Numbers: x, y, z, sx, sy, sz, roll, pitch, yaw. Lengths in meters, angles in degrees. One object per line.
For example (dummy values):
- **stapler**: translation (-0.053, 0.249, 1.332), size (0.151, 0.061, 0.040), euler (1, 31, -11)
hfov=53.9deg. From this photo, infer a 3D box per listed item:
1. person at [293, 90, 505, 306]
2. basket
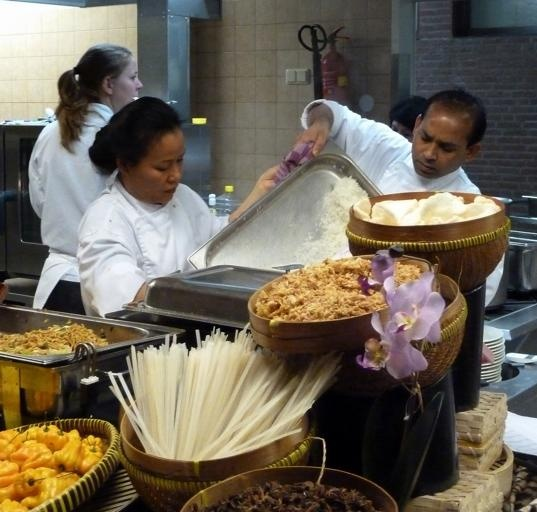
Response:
- **person**: translation (0.568, -0.196, 2.142), size (0.655, 0.879, 0.727), euler (-9, 22, -28)
- **basket**: translation (0.176, 0.082, 0.641), size (0.078, 0.127, 0.087), euler (14, 18, 37)
